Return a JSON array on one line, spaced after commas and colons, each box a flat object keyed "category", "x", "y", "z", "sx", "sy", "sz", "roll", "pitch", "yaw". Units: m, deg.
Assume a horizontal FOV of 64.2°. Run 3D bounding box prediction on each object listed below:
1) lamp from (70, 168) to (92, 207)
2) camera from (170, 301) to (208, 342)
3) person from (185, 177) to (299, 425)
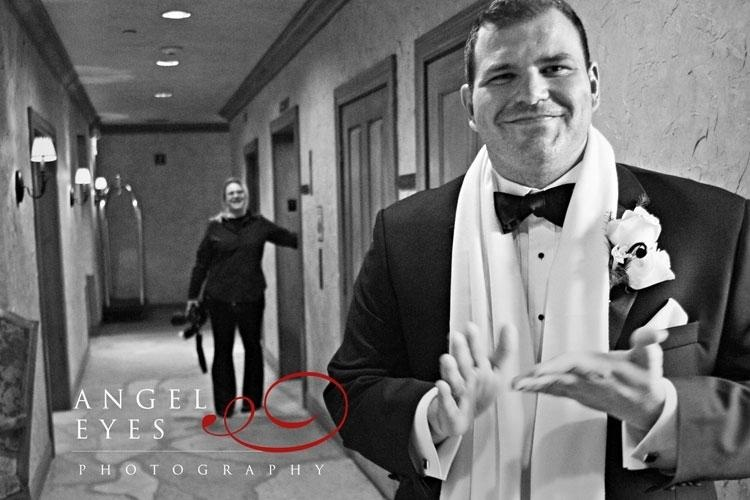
[{"category": "lamp", "x": -1.728, "y": -0.373, "z": 3.533, "sx": 0.155, "sy": 0.237, "sz": 0.044, "roll": -1, "pitch": 0, "yaw": 24}, {"category": "camera", "x": -1.043, "y": 0.404, "z": 3.406, "sx": 0.220, "sy": 0.216, "sz": 0.079, "roll": -27, "pitch": 7, "yaw": -8}, {"category": "person", "x": -0.822, "y": 0.286, "z": 3.412, "sx": 0.481, "sy": 1.369, "sz": 0.200, "roll": -1, "pitch": 0, "yaw": -10}]
